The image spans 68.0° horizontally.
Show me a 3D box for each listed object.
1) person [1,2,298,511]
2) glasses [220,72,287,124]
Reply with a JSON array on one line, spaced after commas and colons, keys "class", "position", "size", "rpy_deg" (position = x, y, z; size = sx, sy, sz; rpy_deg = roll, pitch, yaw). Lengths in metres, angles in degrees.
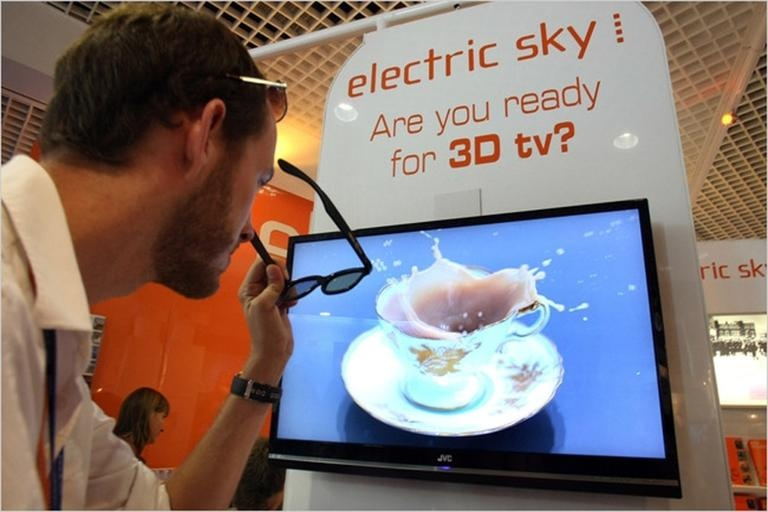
[{"class": "person", "position": [-0.687, 0.002, 1.677], "size": [0.396, 1.514, 0.858], "rpy_deg": [1, 2, 42]}, {"class": "glasses", "position": [-0.418, -0.508, 1.805], "size": [0.210, 0.073, 0.203], "rpy_deg": [3, -2, -19]}]
